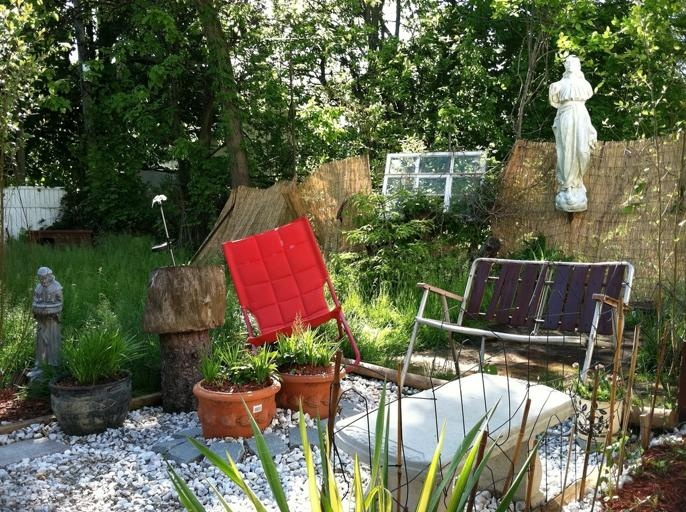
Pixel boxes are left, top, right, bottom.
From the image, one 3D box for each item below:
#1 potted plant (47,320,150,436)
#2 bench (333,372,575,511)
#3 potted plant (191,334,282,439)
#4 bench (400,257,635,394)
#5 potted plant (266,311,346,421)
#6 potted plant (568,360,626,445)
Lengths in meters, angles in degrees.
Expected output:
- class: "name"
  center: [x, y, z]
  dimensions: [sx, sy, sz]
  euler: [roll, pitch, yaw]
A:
- class: "potted plant"
  center: [-1.883, 0.915, 4.888]
  dimensions: [0.628, 0.720, 0.636]
  euler: [-3, 5, -20]
- class: "bench"
  center: [0.572, 0.908, 3.493]
  dimensions: [0.703, 0.554, 1.375]
  euler: [5, 10, 43]
- class: "potted plant"
  center: [-0.743, 0.934, 4.637]
  dimensions: [0.529, 0.698, 0.646]
  euler: [2, -5, -5]
- class: "bench"
  center: [1.428, 0.623, 5.251]
  dimensions: [0.915, 1.282, 1.760]
  euler: [2, 0, -38]
- class: "potted plant"
  center: [-0.308, 0.871, 5.068]
  dimensions: [0.685, 0.953, 0.739]
  euler: [-2, -7, 1]
- class: "potted plant"
  center: [1.733, 0.976, 4.295]
  dimensions: [0.352, 0.496, 0.328]
  euler: [-10, 12, -28]
